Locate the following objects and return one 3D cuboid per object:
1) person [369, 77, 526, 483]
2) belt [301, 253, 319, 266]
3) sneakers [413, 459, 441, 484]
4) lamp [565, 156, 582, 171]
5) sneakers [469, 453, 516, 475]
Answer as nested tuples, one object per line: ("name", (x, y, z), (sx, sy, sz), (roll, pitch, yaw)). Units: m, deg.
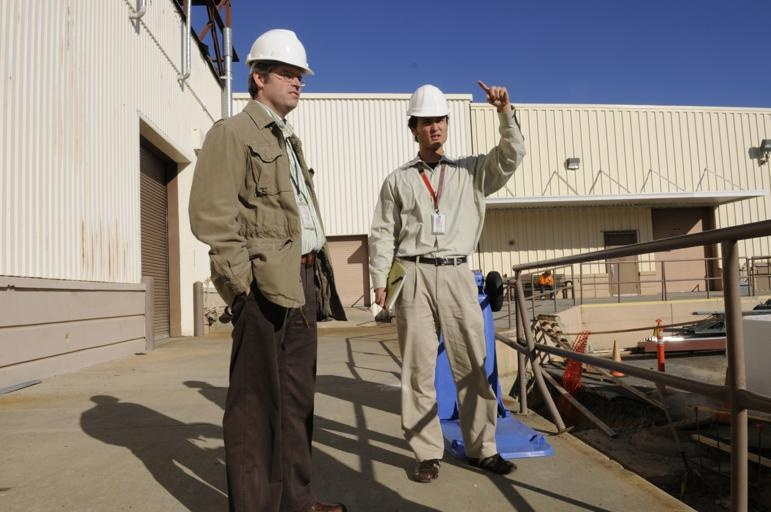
("person", (0.543, 0.169, 5.363), (1.343, 2.768, 0.530), (-2, -1, -2))
("belt", (-0.605, 0.023, 4.735), (0.107, 0.064, 0.080), (-7, -2, 34))
("sneakers", (0.362, 1.892, 5.133), (0.258, 0.139, 0.156), (-3, -2, -2))
("lamp", (7.235, -3.549, 22.253), (0.631, 0.461, 0.318), (-3, -1, -4))
("sneakers", (0.976, 1.868, 5.278), (0.395, 0.181, 0.149), (-6, 3, 33))
